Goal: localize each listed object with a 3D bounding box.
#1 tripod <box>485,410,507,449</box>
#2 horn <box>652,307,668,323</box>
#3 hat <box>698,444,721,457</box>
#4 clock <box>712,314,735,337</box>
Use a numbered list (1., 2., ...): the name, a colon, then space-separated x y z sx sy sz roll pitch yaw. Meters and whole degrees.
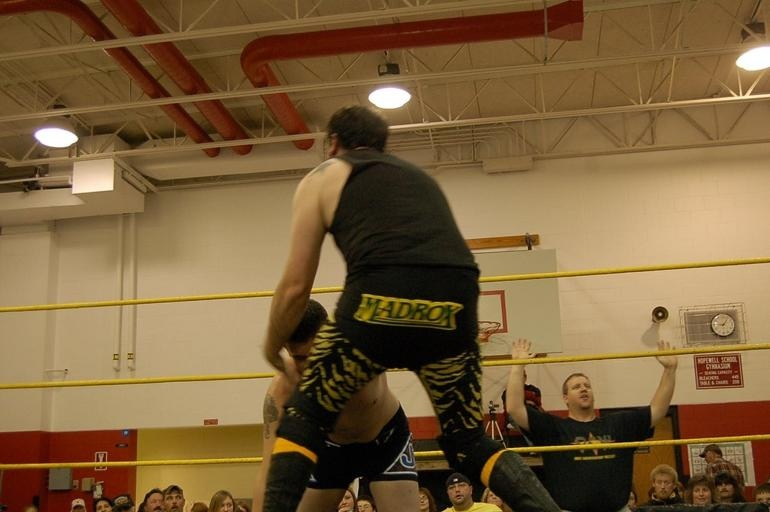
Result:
1. tripod: 1.549 2.423 11.087 0.266 0.494 0.259 -8 -22 7
2. horn: 4.533 0.946 12.638 0.211 0.269 0.201 20 16 16
3. hat: 4.487 2.660 10.666 0.348 0.202 0.241 0 -31 20
4. clock: 5.397 1.089 12.223 0.355 0.396 0.174 -8 -15 25
